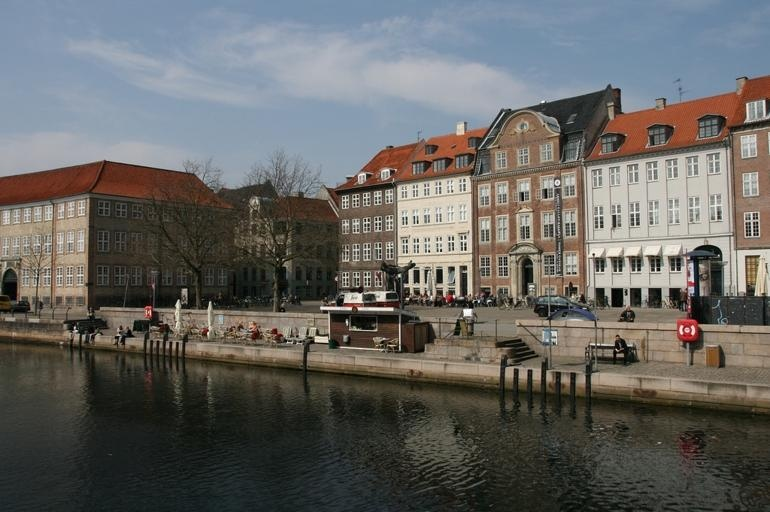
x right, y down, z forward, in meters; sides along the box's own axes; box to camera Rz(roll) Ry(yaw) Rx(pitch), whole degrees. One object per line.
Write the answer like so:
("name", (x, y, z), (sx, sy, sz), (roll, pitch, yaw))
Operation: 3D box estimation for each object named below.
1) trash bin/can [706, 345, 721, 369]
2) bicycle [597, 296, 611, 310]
("trash bin/can", (21.611, 6.480, 63.516), (1.019, 1.329, 0.552), (-2, 9, 17))
("bicycle", (20.549, 4.358, 90.935), (1.184, 1.090, 2.110), (-2, 14, 21))
